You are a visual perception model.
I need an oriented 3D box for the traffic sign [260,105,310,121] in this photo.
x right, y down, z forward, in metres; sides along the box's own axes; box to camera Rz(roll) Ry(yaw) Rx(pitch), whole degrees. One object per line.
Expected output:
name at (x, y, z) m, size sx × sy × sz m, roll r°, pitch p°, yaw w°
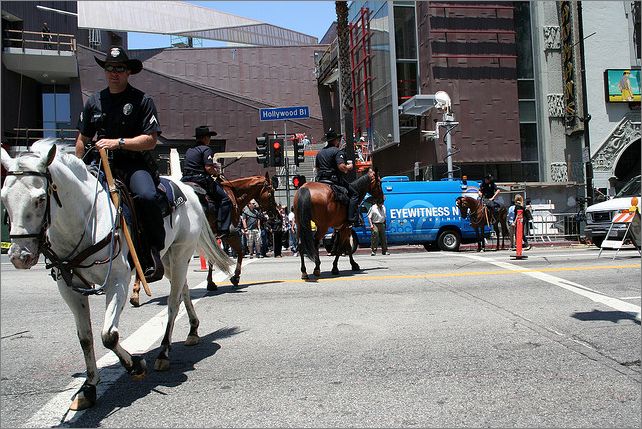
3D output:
traffic sign at (-1.319, -3.692, 22.563) m, size 1.558 × 0.410 × 1.809 m, roll -3°, pitch 10°, yaw -11°

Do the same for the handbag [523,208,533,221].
handbag at (8.440, -0.044, 25.585) m, size 0.453 × 0.611 × 0.218 m, roll 4°, pitch -3°, yaw -37°

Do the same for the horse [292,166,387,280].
horse at (0.015, 0.361, 14.928) m, size 0.880 × 2.254 × 1.937 m, roll 3°, pitch 10°, yaw 25°

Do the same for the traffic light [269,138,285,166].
traffic light at (-1.653, -2.322, 23.204) m, size 0.535 × 0.996 × 0.514 m, roll -2°, pitch 9°, yaw -6°

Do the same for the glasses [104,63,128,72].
glasses at (-2.829, -2.041, 8.697) m, size 0.310 × 0.116 × 0.146 m, roll -5°, pitch 10°, yaw -19°

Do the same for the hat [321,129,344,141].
hat at (0.333, -1.971, 15.523) m, size 0.610 × 0.263 × 0.722 m, roll -2°, pitch 10°, yaw 14°

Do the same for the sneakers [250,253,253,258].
sneakers at (-2.485, 1.481, 22.347) m, size 0.113 × 0.206 × 0.114 m, roll -1°, pitch 3°, yaw 5°

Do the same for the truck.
truck at (3.173, 0.030, 24.334) m, size 5.894 × 3.070 × 2.652 m, roll -1°, pitch -3°, yaw -3°

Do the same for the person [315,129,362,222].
person at (0.385, -0.936, 15.506) m, size 1.133 × 2.283 × 0.998 m, roll -1°, pitch 3°, yaw -45°

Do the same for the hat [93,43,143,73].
hat at (-2.846, -2.211, 8.873) m, size 0.526 × 0.396 × 0.624 m, roll -5°, pitch 10°, yaw -22°

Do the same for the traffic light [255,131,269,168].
traffic light at (-2.138, -2.420, 23.258) m, size 0.426 × 1.234 × 1.017 m, roll -2°, pitch 9°, yaw -5°

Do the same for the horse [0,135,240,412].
horse at (-2.765, 0.623, 8.472) m, size 1.120 × 3.323 × 2.843 m, roll 3°, pitch 10°, yaw 25°

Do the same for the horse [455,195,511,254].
horse at (6.015, 0.298, 22.996) m, size 2.456 × 1.898 × 0.666 m, roll -1°, pitch -3°, yaw -29°
